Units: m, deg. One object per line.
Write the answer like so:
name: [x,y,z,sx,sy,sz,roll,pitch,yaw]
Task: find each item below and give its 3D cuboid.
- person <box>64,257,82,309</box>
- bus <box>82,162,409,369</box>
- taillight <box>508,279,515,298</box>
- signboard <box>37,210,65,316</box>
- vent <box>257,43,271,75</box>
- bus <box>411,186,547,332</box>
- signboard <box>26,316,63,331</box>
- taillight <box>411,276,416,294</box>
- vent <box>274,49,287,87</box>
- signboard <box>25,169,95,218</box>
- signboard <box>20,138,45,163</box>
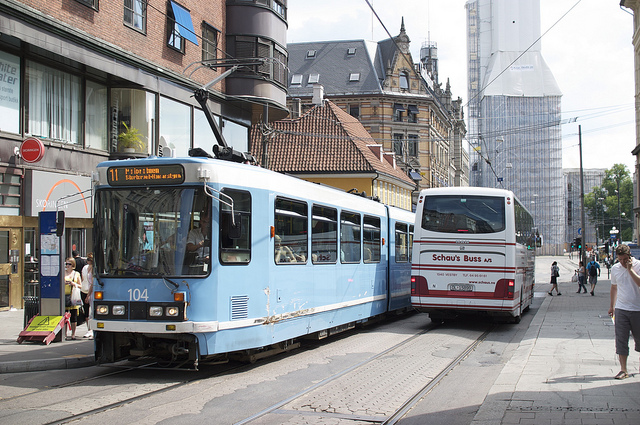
person: [-6.618,1.887,17.339,0.390,1.248,0.635,-1,2,-22]
bus: [-0.776,1.545,18.499,3.661,3.950,12.882,-3,-6,27]
taillight: [5.521,2.194,18.724,0.206,0.535,0.058,-1,2,-20]
signboard: [-6.818,1.299,16.527,0.878,2.686,0.429,1,2,32]
vent: [-2.649,-7.485,30.829,0.266,1.441,0.816,2,2,44]
bus: [5.523,1.620,21.823,2.350,2.765,6.451,0,-2,24]
signboard: [-6.951,2.805,16.327,0.714,0.328,0.354,0,1,4]
taillight: [2.800,2.176,19.460,0.132,0.537,0.064,1,2,24]
vent: [-1.970,-7.312,32.142,0.322,1.538,1.659,0,1,11]
signboard: [-9.065,-0.497,23.094,3.706,1.774,0.533,0,-20,33]
signboard: [-9.373,-2.092,20.978,0.790,0.857,0.251,-3,-4,16]
